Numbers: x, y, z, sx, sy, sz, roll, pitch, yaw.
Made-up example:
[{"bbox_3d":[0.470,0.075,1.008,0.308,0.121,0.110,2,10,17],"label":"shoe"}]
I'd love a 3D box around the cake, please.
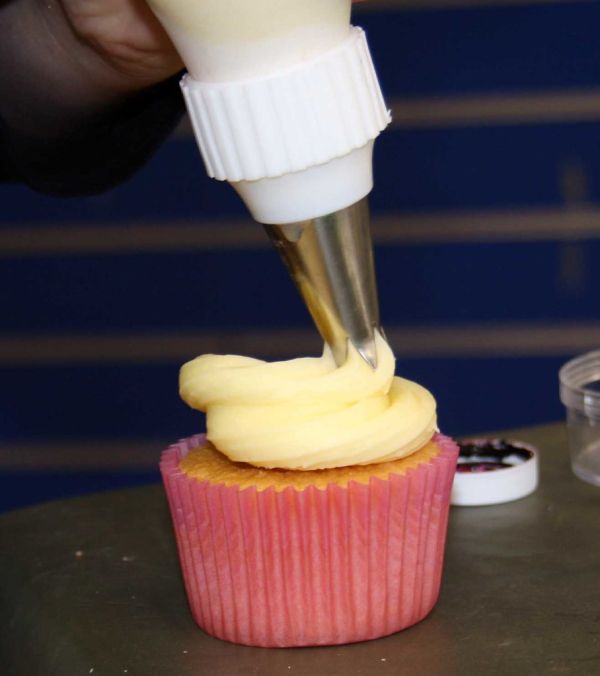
[{"bbox_3d":[0.001,0.094,0.649,0.223,0.209,0.155,-3,15,7],"label":"cake"}]
